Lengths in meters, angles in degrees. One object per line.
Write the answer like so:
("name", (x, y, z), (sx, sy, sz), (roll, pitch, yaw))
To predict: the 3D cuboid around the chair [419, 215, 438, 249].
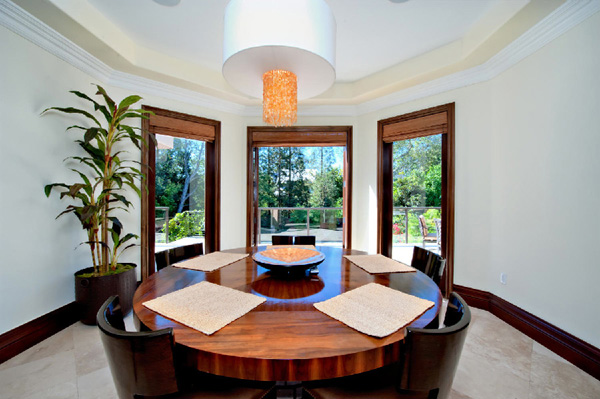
("chair", (1.954, 0.513, 5.466), (0.262, 0.395, 0.301), (3, 4, 12))
